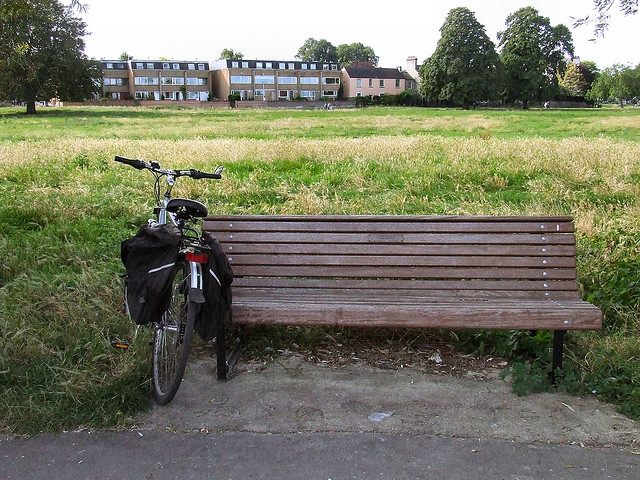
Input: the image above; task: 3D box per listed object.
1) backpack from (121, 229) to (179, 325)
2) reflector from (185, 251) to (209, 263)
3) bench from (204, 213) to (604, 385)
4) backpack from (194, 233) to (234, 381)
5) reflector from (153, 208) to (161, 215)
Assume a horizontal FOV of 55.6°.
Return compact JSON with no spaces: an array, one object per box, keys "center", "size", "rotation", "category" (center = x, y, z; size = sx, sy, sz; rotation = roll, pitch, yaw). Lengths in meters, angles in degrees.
[{"center":[-1.393,0.272,4.920],"size":[0.527,0.744,0.350],"rotation":[10,17,33],"category":"backpack"},{"center":[-0.979,0.145,4.869],"size":[0.118,0.062,0.089],"rotation":[13,-3,14],"category":"reflector"},{"center":[0.756,0.230,5.475],"size":[3.230,0.857,1.011],"rotation":[1,15,0],"category":"bench"},{"center":[-0.774,0.545,5.044],"size":[0.280,1.161,0.505],"rotation":[1,-7,-16],"category":"backpack"},{"center":[-1.395,-0.250,5.191],"size":[0.074,0.080,0.076],"rotation":[2,0,-8],"category":"reflector"}]
